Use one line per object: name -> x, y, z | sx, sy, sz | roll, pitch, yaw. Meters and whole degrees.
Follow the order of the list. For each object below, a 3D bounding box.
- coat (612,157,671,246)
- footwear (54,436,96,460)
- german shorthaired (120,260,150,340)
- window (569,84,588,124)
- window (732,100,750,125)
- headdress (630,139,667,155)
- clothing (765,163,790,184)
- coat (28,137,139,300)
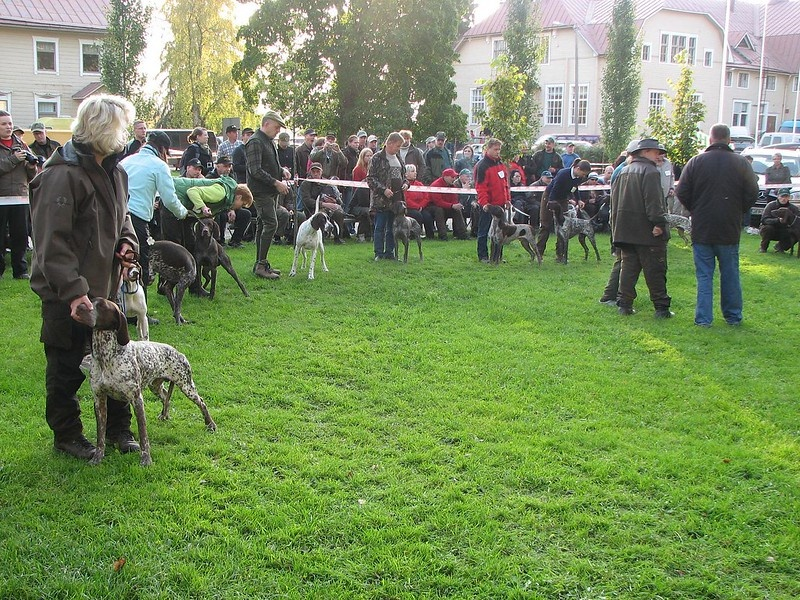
coat -> 3.249, -1.378, 9.947 | 0.734, 1.225, 0.994 | 2, 1, -20
footwear -> -2.608, 1.204, 5.701 | 0.381, 0.176, 0.160 | 6, 12, 6
german shorthaired -> -2.964, 0.093, 7.797 | 0.258, 0.761, 1.225 | -10, -4, -25
window -> 9.999, -11.093, 40.042 | 1.035, 2.368, 0.126 | 7, 35, 23
window -> 23.119, -13.059, 48.609 | 1.481, 1.861, 0.137 | -13, 18, -28
headdress -> 3.391, -2.163, 9.850 | 0.382, 0.233, 0.488 | 6, 7, 33
clothing -> 9.856, -3.332, 18.647 | 0.625, 0.504, 0.478 | 6, 7, 34
coat -> -2.425, -0.593, 5.418 | 0.731, 1.237, 0.463 | -2, 7, -31
